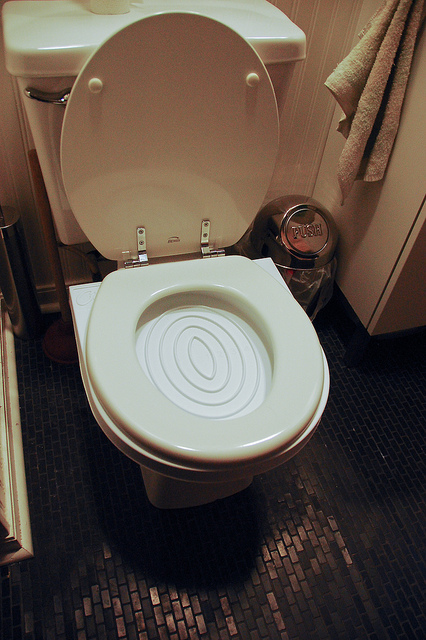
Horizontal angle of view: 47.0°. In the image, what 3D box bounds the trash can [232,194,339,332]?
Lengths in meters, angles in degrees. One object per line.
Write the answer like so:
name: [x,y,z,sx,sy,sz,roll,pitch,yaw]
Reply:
trash can: [0.159,-0.140,1.074,0.203,0.315,0.228,-10,56,-2]
